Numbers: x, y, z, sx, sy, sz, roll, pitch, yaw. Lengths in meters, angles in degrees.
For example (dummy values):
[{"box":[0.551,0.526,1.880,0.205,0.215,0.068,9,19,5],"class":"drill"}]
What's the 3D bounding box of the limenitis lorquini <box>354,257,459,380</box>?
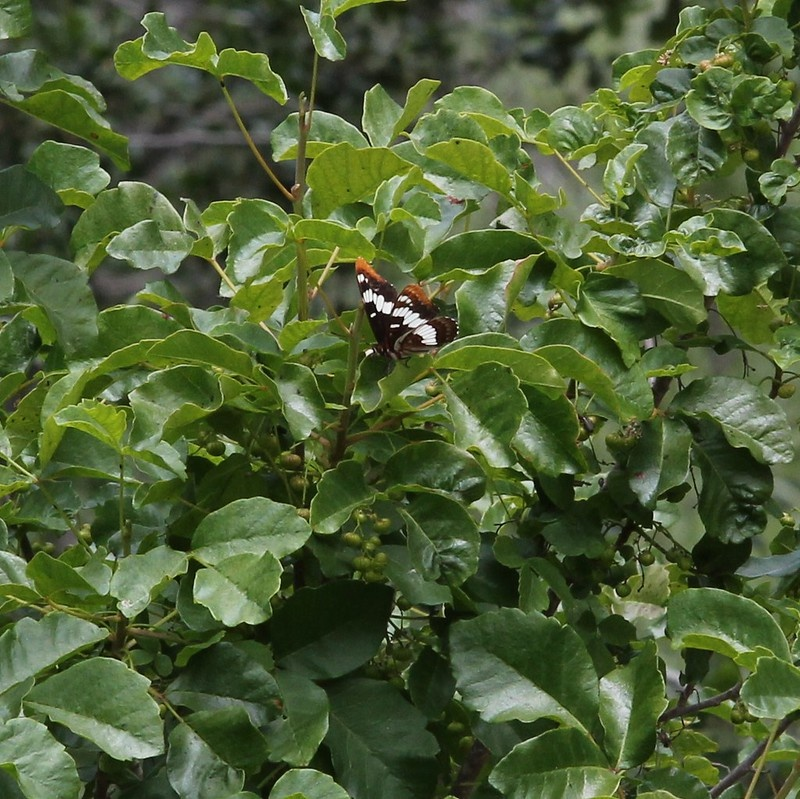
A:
[{"box":[0.002,-0.124,2.698,0.181,0.124,0.174,-2,-2,2],"class":"limenitis lorquini"}]
